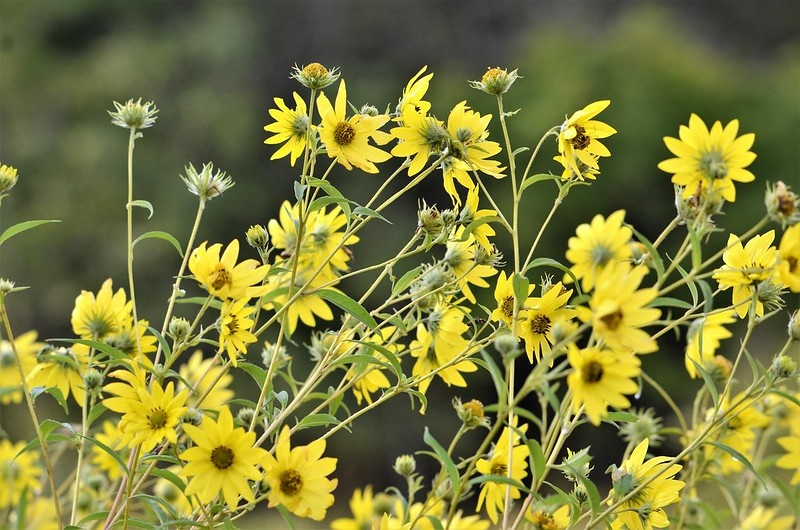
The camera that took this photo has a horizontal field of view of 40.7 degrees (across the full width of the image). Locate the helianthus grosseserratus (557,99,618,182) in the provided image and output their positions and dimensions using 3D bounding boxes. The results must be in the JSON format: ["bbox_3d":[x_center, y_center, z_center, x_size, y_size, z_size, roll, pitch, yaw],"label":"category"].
[{"bbox_3d":[1.079,-0.711,6.260,0.344,0.450,0.201,-12,12,-21],"label":"helianthus grosseserratus"}]

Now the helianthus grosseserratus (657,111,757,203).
[{"bbox_3d":[1.739,-0.595,6.117,0.539,0.518,0.291,-6,11,12],"label":"helianthus grosseserratus"}]
